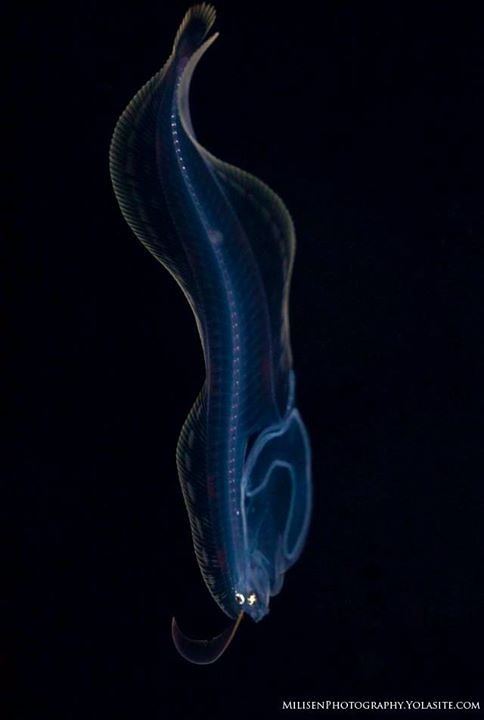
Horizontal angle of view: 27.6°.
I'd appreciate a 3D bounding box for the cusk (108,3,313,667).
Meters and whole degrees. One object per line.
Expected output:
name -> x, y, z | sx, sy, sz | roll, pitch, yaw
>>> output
cusk -> -0.059, -0.105, 2.152 | 0.438, 1.305, 0.188 | 3, 7, 12
